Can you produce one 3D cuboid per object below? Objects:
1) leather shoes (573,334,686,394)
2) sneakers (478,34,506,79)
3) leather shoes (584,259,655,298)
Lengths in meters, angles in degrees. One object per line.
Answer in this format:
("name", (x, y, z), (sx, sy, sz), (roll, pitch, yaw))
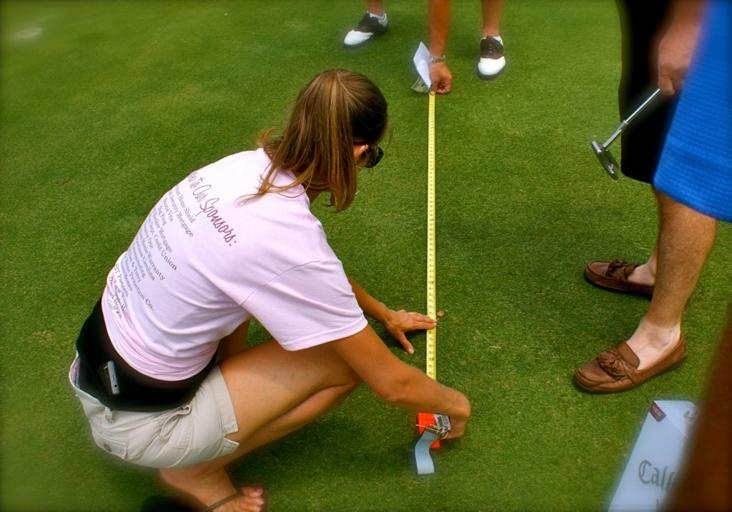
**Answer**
("leather shoes", (0.952, 0.435, 2.386), (0.465, 0.134, 0.177), (-21, 38, 5))
("sneakers", (0.745, -1.177, 3.705), (0.137, 0.121, 0.305), (-1, 46, 13))
("leather shoes", (1.063, 0.101, 2.628), (0.156, 0.069, 0.115), (-21, 45, -32))
